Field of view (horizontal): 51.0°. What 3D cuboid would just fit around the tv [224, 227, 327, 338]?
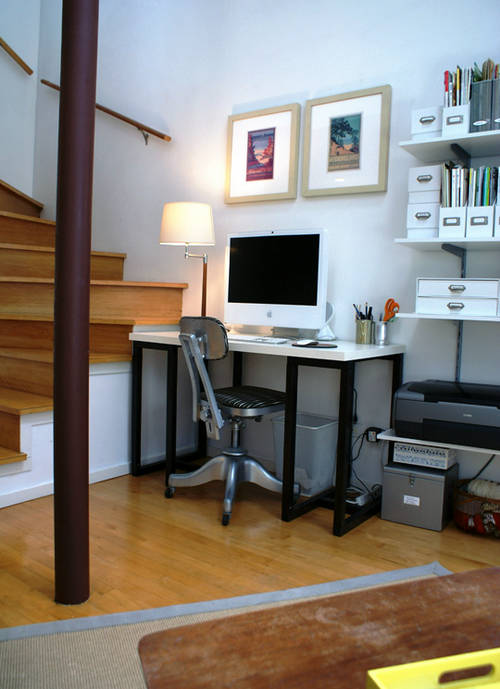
[{"bbox_3d":[0.137,-0.305,2.534,0.512,0.503,0.170,1,2,37],"label":"tv"}]

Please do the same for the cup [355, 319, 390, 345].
[{"bbox_3d":[0.552,-0.049,2.346,0.138,0.114,0.091,2,2,21],"label":"cup"}]

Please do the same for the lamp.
[{"bbox_3d":[-0.348,-0.457,2.904,0.277,0.586,0.444,1,2,-5],"label":"lamp"}]

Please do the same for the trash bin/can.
[{"bbox_3d":[0.298,0.481,2.609,0.349,0.460,0.322,4,5,42],"label":"trash bin/can"}]

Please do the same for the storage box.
[{"bbox_3d":[0.715,0.600,2.240,0.241,0.243,0.262,5,5,30],"label":"storage box"}]

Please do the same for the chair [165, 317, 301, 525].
[{"bbox_3d":[-0.157,0.251,2.659,0.724,1.082,0.705,-5,9,-37],"label":"chair"}]
